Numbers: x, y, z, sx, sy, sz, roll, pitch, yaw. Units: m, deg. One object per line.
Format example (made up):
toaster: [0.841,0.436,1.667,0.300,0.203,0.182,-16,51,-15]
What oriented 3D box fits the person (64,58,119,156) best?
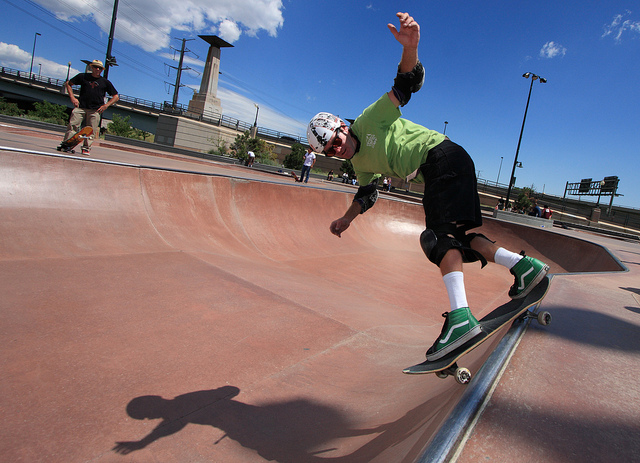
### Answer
person: [-4.085,-2.180,6.342,0.874,1.647,0.605,7,8,-7]

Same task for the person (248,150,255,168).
person: [-4.444,-4.666,23.055,0.317,0.936,1.515,5,9,-15]

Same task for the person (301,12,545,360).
person: [0.568,-0.147,2.372,1.324,1.970,1.006,-18,-15,30]

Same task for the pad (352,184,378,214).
pad: [0.371,-0.279,2.957,0.165,0.243,0.223,9,8,10]

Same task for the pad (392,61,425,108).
pad: [0.582,-0.983,2.396,0.194,0.282,0.073,8,8,1]

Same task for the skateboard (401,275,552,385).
skateboard: [1.036,0.669,2.500,1.189,0.190,0.279,-29,2,-28]

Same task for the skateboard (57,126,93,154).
skateboard: [-4.349,-1.652,6.389,0.639,0.509,0.301,14,10,32]
